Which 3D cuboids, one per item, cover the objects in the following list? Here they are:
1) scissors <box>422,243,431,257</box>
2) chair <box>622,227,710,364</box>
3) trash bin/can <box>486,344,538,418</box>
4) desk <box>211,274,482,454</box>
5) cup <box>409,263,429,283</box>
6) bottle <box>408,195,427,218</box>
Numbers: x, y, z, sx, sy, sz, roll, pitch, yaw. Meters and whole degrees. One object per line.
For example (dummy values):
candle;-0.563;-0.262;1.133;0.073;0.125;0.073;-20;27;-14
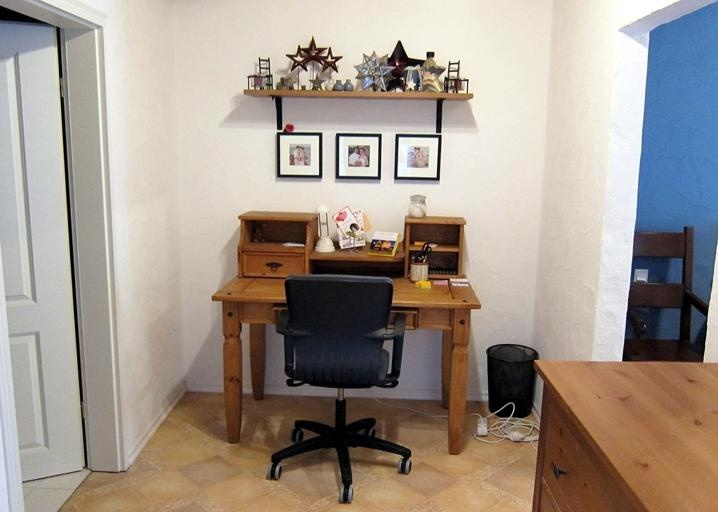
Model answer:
scissors;0.458;-0.047;3.964;0.052;0.089;0.022;-12;-21;39
chair;2.171;0.247;4.136;0.508;0.904;0.893;5;8;25
trash bin/can;1.071;0.890;4.177;0.359;0.473;0.313;3;8;13
desk;-0.078;0.595;4.203;1.717;1.171;0.911;2;26;4
cup;0.394;0.102;3.929;0.111;0.112;0.113;1;1;0
bottle;0.392;-0.347;4.046;0.137;0.165;0.141;2;3;6
